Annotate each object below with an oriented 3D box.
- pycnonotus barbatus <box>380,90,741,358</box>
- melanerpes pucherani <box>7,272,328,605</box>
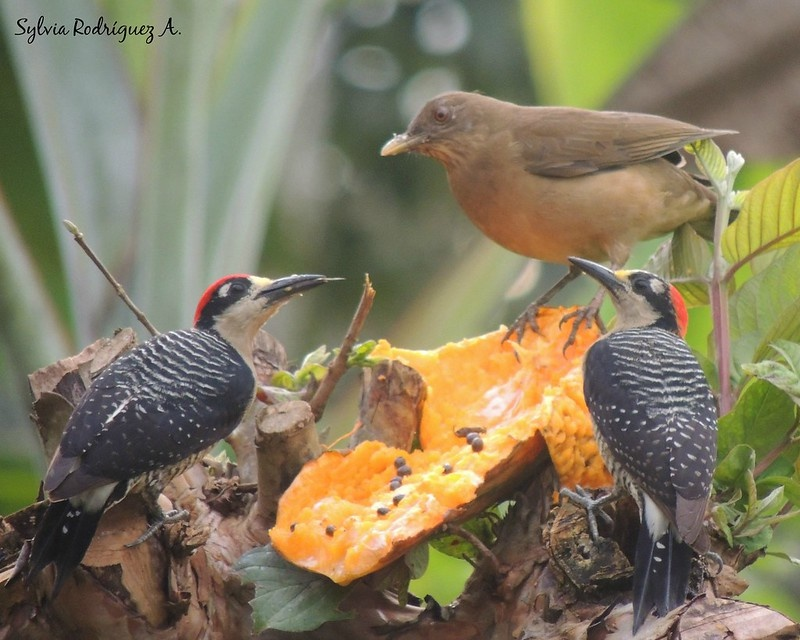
[{"bbox_3d":[0.734,-0.720,5.961,1.044,1.333,1.333,15,26,39],"label":"pycnonotus barbatus"},{"bbox_3d":[-0.900,0.349,4.828,1.393,0.924,0.707,-15,16,-29],"label":"melanerpes pucherani"}]
